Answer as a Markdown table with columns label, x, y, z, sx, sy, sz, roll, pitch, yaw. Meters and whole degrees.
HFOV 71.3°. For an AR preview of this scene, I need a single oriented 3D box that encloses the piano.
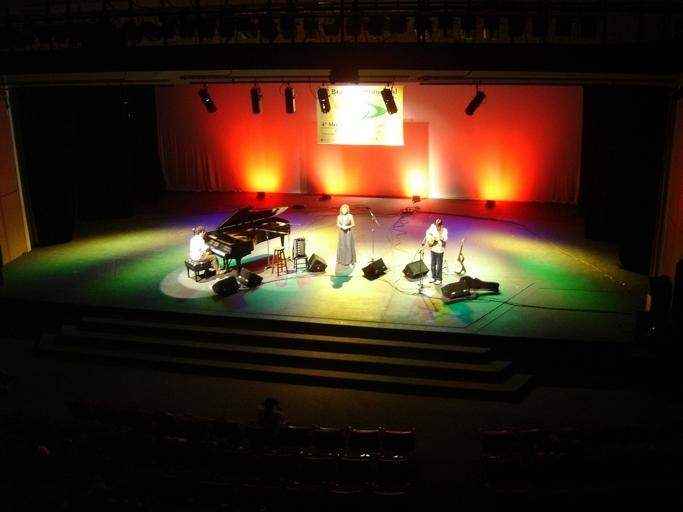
| label | x | y | z | sx | sy | sz | roll | pitch | yaw |
| --- | --- | --- | --- | --- | --- | --- | --- | --- | --- |
| piano | -2.326 | -0.517 | 11.543 | 2.092 | 1.195 | 1.589 | -19 | -59 | -37 |

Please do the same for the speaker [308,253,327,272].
| label | x | y | z | sx | sy | sz | roll | pitch | yaw |
| --- | --- | --- | --- | --- | --- | --- | --- | --- | --- |
| speaker | -0.584 | 0.112 | 11.553 | 0.396 | 0.459 | 0.282 | 1 | -76 | -3 |

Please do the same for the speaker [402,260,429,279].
| label | x | y | z | sx | sy | sz | roll | pitch | yaw |
| --- | --- | --- | --- | --- | --- | --- | --- | --- | --- |
| speaker | 1.700 | 0.319 | 10.872 | 0.439 | 0.445 | 0.309 | -14 | -89 | 35 |

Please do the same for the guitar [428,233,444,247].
| label | x | y | z | sx | sy | sz | roll | pitch | yaw |
| --- | --- | --- | --- | --- | --- | --- | --- | --- | --- |
| guitar | 2.072 | -0.324 | 10.410 | 0.339 | 0.087 | 0.259 | -6 | -64 | 6 |

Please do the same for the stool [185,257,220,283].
| label | x | y | z | sx | sy | sz | roll | pitch | yaw |
| --- | --- | --- | --- | --- | --- | --- | --- | --- | --- |
| stool | -3.310 | 0.248 | 11.126 | 0.498 | 0.765 | 0.530 | -14 | -67 | -37 |

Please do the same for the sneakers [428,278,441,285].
| label | x | y | z | sx | sy | sz | roll | pitch | yaw |
| --- | --- | --- | --- | --- | --- | --- | --- | --- | --- |
| sneakers | 2.119 | 0.564 | 10.748 | 0.103 | 0.300 | 0.118 | -6 | -84 | -23 |

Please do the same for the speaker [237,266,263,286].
| label | x | y | z | sx | sy | sz | roll | pitch | yaw |
| --- | --- | --- | --- | --- | --- | --- | --- | --- | --- |
| speaker | -2.102 | 0.498 | 10.723 | 0.578 | 0.349 | 0.324 | 6 | -64 | 0 |

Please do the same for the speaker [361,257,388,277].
| label | x | y | z | sx | sy | sz | roll | pitch | yaw |
| --- | --- | --- | --- | --- | --- | --- | --- | --- | --- |
| speaker | 0.757 | 0.313 | 11.077 | 0.384 | 0.559 | 0.419 | -16 | -90 | 37 |

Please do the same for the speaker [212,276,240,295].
| label | x | y | z | sx | sy | sz | roll | pitch | yaw |
| --- | --- | --- | --- | --- | --- | --- | --- | --- | --- |
| speaker | -2.565 | 0.602 | 10.474 | 0.564 | 0.668 | 0.314 | 0 | -64 | 3 |
